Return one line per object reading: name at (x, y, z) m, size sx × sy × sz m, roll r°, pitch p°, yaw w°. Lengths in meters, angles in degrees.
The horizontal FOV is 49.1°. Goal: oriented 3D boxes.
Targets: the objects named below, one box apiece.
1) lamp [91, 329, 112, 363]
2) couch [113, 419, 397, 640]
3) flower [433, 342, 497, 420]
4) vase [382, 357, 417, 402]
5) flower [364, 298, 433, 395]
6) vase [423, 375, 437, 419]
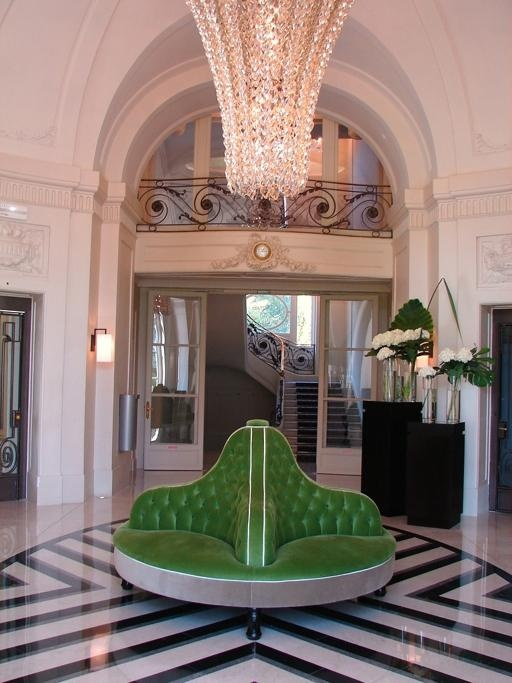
lamp at (-1.828, 0.049, 6.594) m, size 0.331 × 0.410 × 0.187 m, roll 6°, pitch -8°, yaw -34°
couch at (-0.036, 1.003, 3.248) m, size 1.636 × 1.051 × 1.032 m, roll 0°, pitch -7°, yaw 12°
flower at (2.139, 0.361, 5.691) m, size 0.738 × 0.747 × 0.721 m, roll 5°, pitch 2°, yaw 37°
vase at (1.558, 0.444, 6.253) m, size 0.489 × 0.568 × 0.494 m, roll 1°, pitch 1°, yaw 4°
flower at (1.617, 0.094, 6.290) m, size 0.682 × 1.160 × 1.131 m, roll -1°, pitch -7°, yaw 16°
vase at (1.752, 0.585, 5.662) m, size 0.118 × 0.482 × 0.140 m, roll 6°, pitch -7°, yaw -25°
